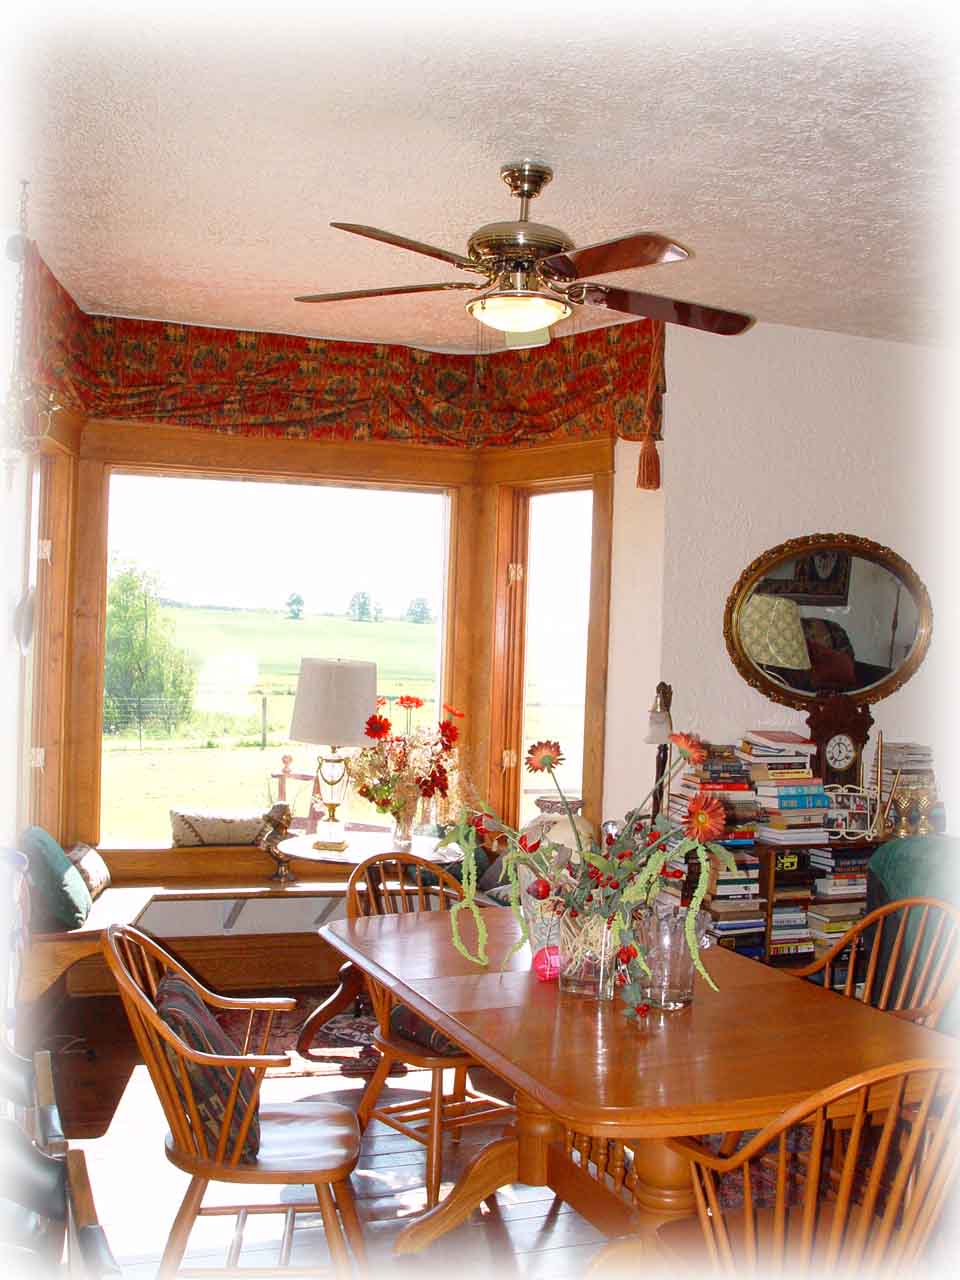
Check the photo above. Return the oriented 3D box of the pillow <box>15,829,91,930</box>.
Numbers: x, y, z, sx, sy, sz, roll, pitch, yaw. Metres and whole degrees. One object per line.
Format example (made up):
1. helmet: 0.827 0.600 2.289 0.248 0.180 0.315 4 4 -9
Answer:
1. pillow: -1.505 0.846 3.748 0.207 0.352 0.354 3 -2 -5

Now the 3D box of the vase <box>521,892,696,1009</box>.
1. vase: 0.290 0.663 2.315 0.189 0.217 0.347 15 -18 -33

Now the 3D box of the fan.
1. fan: 0.151 -1.113 3.151 0.794 0.191 0.758 4 0 -32

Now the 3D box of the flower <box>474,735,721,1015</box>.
1. flower: 0.300 0.524 2.371 0.602 0.515 0.633 -11 -15 20

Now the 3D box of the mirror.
1. mirror: 1.473 -0.080 4.622 0.855 0.667 0.062 -1 0 -20

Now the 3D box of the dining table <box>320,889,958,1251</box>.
1. dining table: 0.307 0.941 2.278 0.613 0.496 1.071 -3 6 -22

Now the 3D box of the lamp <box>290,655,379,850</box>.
1. lamp: -0.606 0.471 4.428 0.326 0.770 0.787 3 -2 -5

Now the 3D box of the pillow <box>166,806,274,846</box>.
1. pillow: -1.213 0.869 4.887 0.426 0.155 0.105 3 -2 -14

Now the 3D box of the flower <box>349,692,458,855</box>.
1. flower: -0.268 0.587 4.354 0.463 0.493 0.389 4 -1 16
